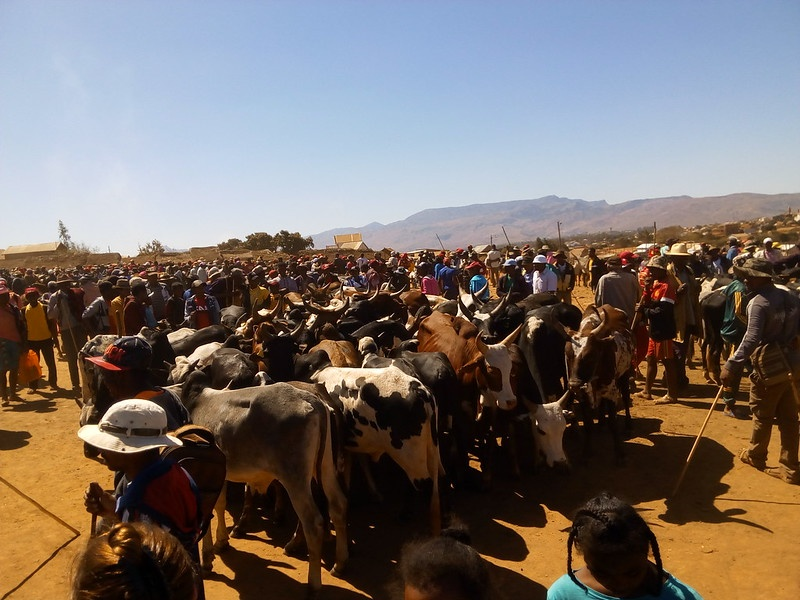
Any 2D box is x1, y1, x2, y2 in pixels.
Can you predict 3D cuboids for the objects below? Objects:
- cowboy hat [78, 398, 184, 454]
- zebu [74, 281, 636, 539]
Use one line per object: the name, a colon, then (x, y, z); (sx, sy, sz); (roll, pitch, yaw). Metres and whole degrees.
cowboy hat: (-1.858, 0.851, 3.369); (0.612, 0.251, 0.617); (5, -10, 16)
zebu: (0.176, 1.691, 8.398); (8.315, 3.933, 2.767); (-1, -10, 1)
